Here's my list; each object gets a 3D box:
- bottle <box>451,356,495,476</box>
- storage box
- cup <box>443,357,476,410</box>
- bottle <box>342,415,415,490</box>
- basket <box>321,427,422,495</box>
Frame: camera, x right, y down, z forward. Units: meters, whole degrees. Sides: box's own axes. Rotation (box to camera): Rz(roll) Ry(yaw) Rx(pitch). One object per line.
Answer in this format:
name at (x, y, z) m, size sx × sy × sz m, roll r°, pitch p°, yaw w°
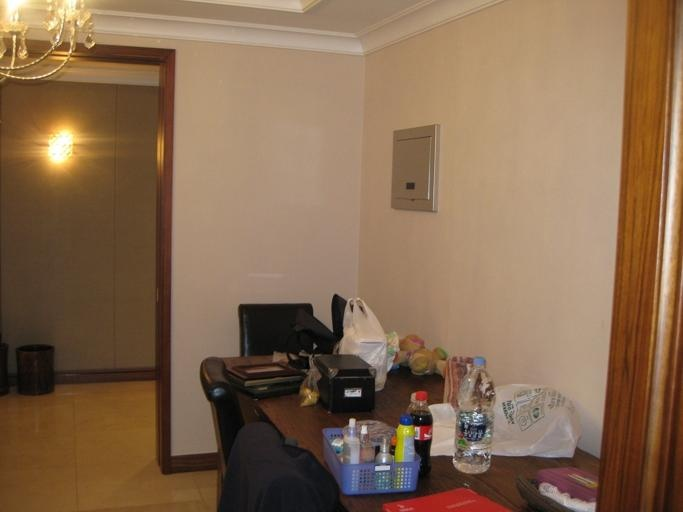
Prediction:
bottle at (0.445, 0.505, 1.787) m, size 0.129 × 0.322 × 0.282 m, roll 6°, pitch 8°, yaw 14°
storage box at (0.012, 0.565, 2.256) m, size 0.194 × 0.163 × 0.334 m, roll 2°, pitch -13°, yaw -10°
cup at (0.511, 0.547, 2.329) m, size 0.149 × 0.226 × 0.142 m, roll -4°, pitch -21°, yaw -2°
bottle at (0.101, 0.566, 1.600) m, size 0.183 × 0.119 × 0.190 m, roll -1°, pitch 0°, yaw 0°
basket at (0.095, 0.670, 1.678) m, size 0.221 × 0.097 × 0.297 m, roll 1°, pitch -13°, yaw -10°
